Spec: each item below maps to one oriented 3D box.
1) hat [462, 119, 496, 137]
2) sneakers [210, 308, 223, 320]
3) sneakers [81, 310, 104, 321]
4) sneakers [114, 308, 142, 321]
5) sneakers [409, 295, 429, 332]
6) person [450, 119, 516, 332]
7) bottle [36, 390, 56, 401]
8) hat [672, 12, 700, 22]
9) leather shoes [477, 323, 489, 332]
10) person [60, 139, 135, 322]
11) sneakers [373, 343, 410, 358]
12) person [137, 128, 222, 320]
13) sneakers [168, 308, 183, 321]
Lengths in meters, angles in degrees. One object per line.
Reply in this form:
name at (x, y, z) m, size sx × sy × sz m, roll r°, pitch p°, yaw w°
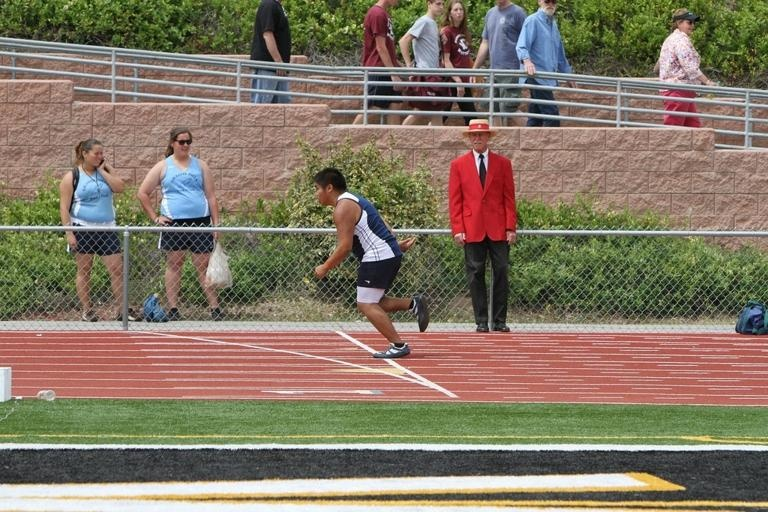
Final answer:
hat at (1.488, -1.988, 23.892) m, size 0.595 × 0.261 × 0.686 m, roll 1°, pitch -5°, yaw 5°
sneakers at (-2.553, 0.890, 23.386) m, size 0.196 × 0.191 × 0.062 m, roll -4°, pitch 5°, yaw -26°
sneakers at (-4.430, 0.927, 23.332) m, size 0.295 × 0.136 × 0.130 m, roll -1°, pitch 3°, yaw 24°
sneakers at (-3.845, 0.891, 23.112) m, size 0.443 × 0.148 × 0.185 m, roll 1°, pitch -23°, yaw -12°
sneakers at (0.529, 0.810, 21.626) m, size 0.226 × 0.541 × 0.201 m, roll -1°, pitch 28°, yaw 28°
person at (1.474, -0.436, 23.089) m, size 0.972 × 3.196 × 0.349 m, roll -1°, pitch 5°, yaw 1°
bottle at (-4.233, 1.746, 19.217) m, size 0.228 × 0.111 × 0.339 m, roll -2°, pitch 5°, yaw -12°
hat at (5.073, -4.053, 25.961) m, size 0.370 × 0.138 × 0.255 m, roll 7°, pitch 7°, yaw 24°
leather shoes at (1.478, 1.092, 23.153) m, size 0.174 × 0.118 × 0.090 m, roll 4°, pitch 1°, yaw 16°
person at (-4.462, -0.401, 23.456) m, size 0.918 × 2.752 × 1.001 m, roll -2°, pitch 5°, yaw -12°
sneakers at (0.097, 1.314, 21.283) m, size 0.538 × 0.226 × 0.198 m, roll 0°, pitch -5°, yaw 0°
person at (-3.156, -0.499, 23.608) m, size 1.183 × 2.927 × 0.992 m, roll -2°, pitch 5°, yaw -11°
sneakers at (-3.188, 0.891, 23.296) m, size 0.189 × 0.183 × 0.059 m, roll -3°, pitch 5°, yaw -16°
